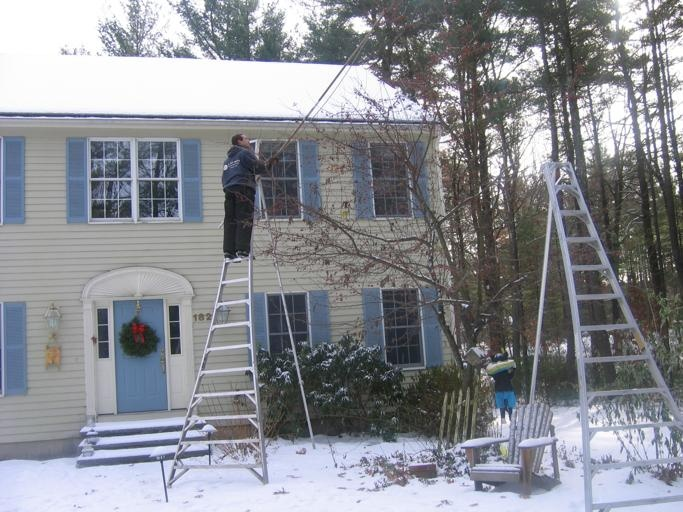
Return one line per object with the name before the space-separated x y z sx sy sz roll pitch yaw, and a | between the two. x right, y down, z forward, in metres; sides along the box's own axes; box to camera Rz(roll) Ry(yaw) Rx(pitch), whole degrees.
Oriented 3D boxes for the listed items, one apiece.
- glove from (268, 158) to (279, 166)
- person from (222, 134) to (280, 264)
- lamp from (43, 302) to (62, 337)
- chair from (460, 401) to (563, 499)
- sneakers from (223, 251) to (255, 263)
glove | -1.303 -1.776 14.254 0.159 0.078 0.299 -30 4 -32
person | -2.008 -1.182 15.084 1.136 2.553 0.467 -9 -11 34
lamp | -6.738 1.464 17.756 0.350 0.767 0.155 1 -10 -21
chair | 3.054 3.421 13.498 1.307 1.592 1.574 -11 -17 38
sneakers | -2.046 0.002 15.014 0.605 0.289 0.232 -9 -8 21
